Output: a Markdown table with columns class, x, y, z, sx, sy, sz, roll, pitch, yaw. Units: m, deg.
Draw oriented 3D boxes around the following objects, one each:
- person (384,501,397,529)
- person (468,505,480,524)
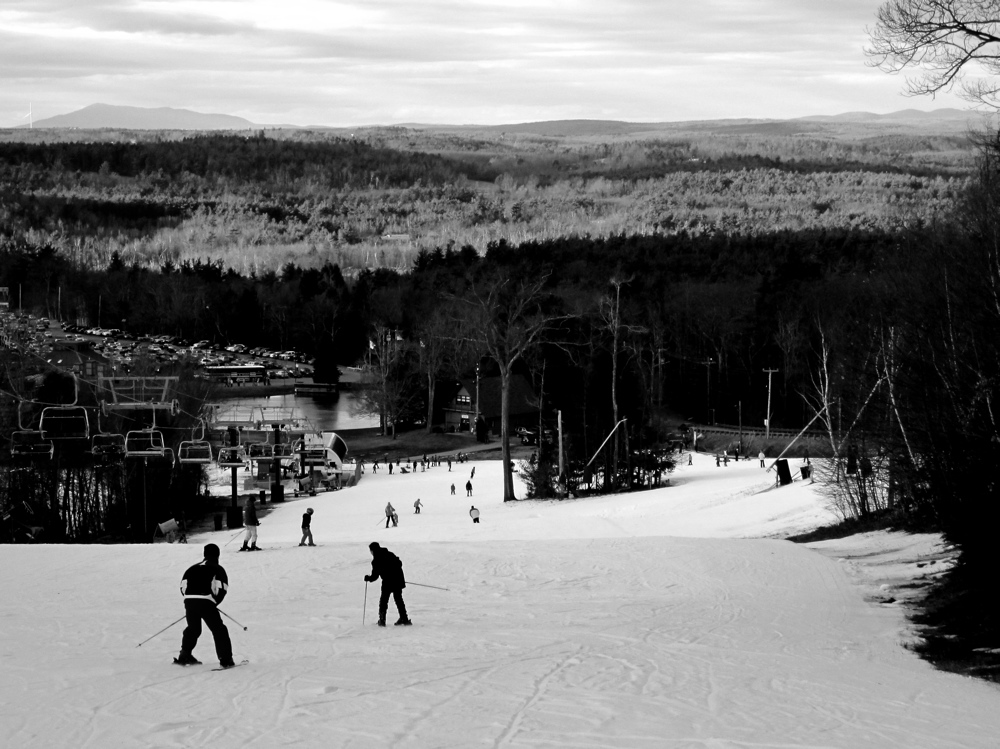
| class | x | y | z | sx | sy | sz | roll | pitch | yaw |
| --- | --- | --- | --- | --- | --- | --- | --- | --- | --- |
| person | -4.294 | 5.498 | 44.381 | 0.406 | 0.985 | 0.349 | -10 | 34 | -10 |
| person | -1.041 | 5.493 | 44.547 | 0.506 | 0.536 | 1.296 | -4 | 9 | -6 |
